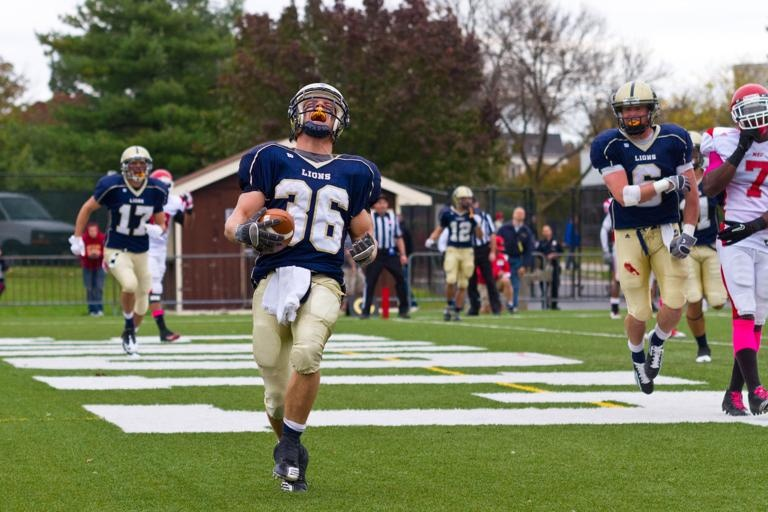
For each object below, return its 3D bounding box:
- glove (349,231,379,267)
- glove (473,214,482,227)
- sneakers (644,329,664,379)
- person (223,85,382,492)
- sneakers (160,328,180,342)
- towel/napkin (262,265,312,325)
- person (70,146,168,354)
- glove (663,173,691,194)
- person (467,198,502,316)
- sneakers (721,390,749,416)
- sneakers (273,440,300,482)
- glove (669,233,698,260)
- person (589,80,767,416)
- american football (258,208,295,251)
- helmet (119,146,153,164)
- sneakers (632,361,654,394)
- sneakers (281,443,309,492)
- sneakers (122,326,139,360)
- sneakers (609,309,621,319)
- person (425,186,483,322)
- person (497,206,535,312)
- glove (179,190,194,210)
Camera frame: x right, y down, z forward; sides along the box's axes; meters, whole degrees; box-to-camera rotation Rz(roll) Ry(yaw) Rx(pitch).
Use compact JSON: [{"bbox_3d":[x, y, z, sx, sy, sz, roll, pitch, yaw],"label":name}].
[{"bbox_3d":[-0.188,-0.065,9.488,0.211,0.113,0.263,-17,39,1],"label":"glove"},{"bbox_3d":[1.530,-0.576,18.371,0.072,0.169,0.124,-4,13,2],"label":"glove"},{"bbox_3d":[2.753,1.035,11.543,0.185,0.560,0.222,1,-3,6],"label":"sneakers"},{"bbox_3d":[-0.666,0.205,9.227,1.219,3.314,0.651,0,-1,-9],"label":"person"},{"bbox_3d":[-2.979,1.108,15.663,0.314,0.152,0.142,-12,-7,41],"label":"sneakers"},{"bbox_3d":[-0.786,0.307,9.102,0.186,0.440,0.445,25,10,-48],"label":"towel/napkin"},{"bbox_3d":[-3.343,-0.081,14.515,1.080,2.635,0.774,0,-1,-12],"label":"person"},{"bbox_3d":[2.895,-0.712,11.122,0.284,0.153,0.122,1,-1,-34],"label":"glove"},{"bbox_3d":[1.627,0.006,18.952,0.695,2.091,0.579,-2,7,2],"label":"person"},{"bbox_3d":[3.324,1.401,10.681,0.238,0.220,0.252,0,-1,16],"label":"sneakers"},{"bbox_3d":[-0.766,1.622,9.049,0.195,0.273,0.563,14,7,-3],"label":"sneakers"},{"bbox_3d":[2.928,-0.082,10.994,0.266,0.200,0.125,-17,-35,40],"label":"glove"},{"bbox_3d":[2.641,-0.183,11.356,1.005,3.183,0.667,0,-1,15],"label":"person"},{"bbox_3d":[-0.828,-0.227,9.100,0.314,0.264,0.255,14,23,27],"label":"american football"},{"bbox_3d":[-3.183,-1.306,14.546,0.330,0.247,0.384,0,-1,3],"label":"helmet"},{"bbox_3d":[2.647,1.259,11.516,0.129,0.391,0.155,-14,-10,13],"label":"sneakers"},{"bbox_3d":[-0.733,1.683,9.006,0.264,0.362,0.290,0,-1,-6],"label":"sneakers"},{"bbox_3d":[-3.174,1.108,14.173,0.145,0.206,0.452,-6,26,-23],"label":"sneakers"},{"bbox_3d":[4.073,1.063,19.825,0.106,0.132,0.311,0,-4,1],"label":"sneakers"},{"bbox_3d":[1.228,0.152,18.435,0.805,1.863,0.914,1,-1,-17],"label":"person"},{"bbox_3d":[2.094,0.113,18.681,0.806,1.784,0.612,5,9,7],"label":"person"},{"bbox_3d":[-3.112,-0.880,17.821,0.235,0.292,0.106,-4,5,0],"label":"glove"}]
